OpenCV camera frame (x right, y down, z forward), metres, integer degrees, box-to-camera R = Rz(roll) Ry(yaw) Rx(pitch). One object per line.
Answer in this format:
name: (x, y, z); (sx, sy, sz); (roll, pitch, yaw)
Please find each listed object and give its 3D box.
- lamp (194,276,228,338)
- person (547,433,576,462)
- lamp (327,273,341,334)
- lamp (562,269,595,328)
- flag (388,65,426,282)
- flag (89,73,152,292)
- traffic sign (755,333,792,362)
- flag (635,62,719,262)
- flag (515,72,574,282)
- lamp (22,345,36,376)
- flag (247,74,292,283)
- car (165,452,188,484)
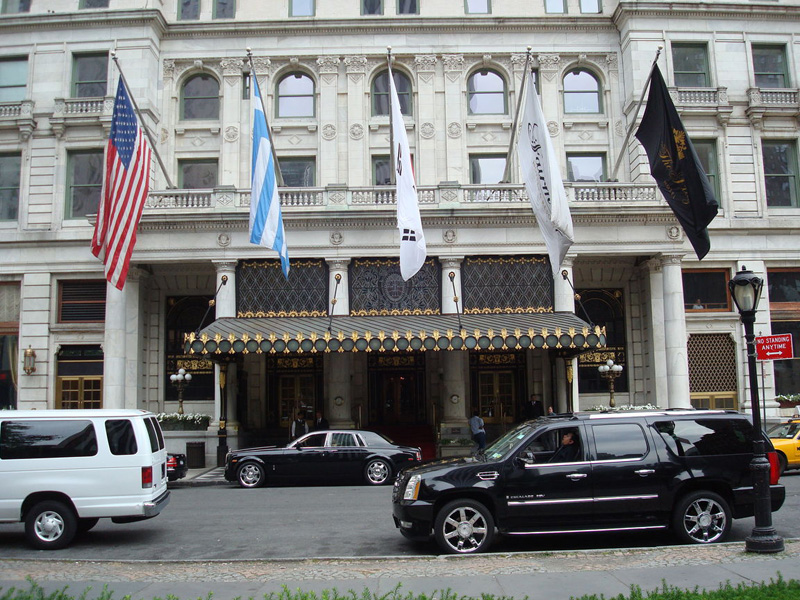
lamp: (-7.754, 0.236, 39.354); (0.401, 2.493, 0.348); (28, 16, 24)
person: (3.776, 3.495, 22.413); (0.453, 0.857, 0.865); (21, -6, 2)
lamp: (-2.619, -0.059, 37.542); (0.590, 2.286, 1.767); (-1, -9, -4)
lamp: (7.316, -0.097, 39.803); (0.787, 1.724, 4.602); (-5, -9, 16)
flag: (0.019, -4.663, 33.591); (1.229, 7.727, 0.939); (-7, 2, 11)
flag: (-10.388, -4.251, 35.536); (1.516, 7.475, 1.715); (-6, -10, 24)
traffic sign: (9.039, 1.138, 23.513); (0.038, 0.804, 1.058); (7, -11, -44)
flag: (8.834, -4.732, 31.128); (1.584, 6.724, 2.139); (-2, -9, 1)
flag: (4.756, -4.323, 32.524); (0.946, 7.166, 1.532); (6, -12, -42)
lamp: (-15.298, 2.399, 39.551); (0.542, 1.247, 0.635); (0, -9, -11)
flag: (-4.926, -4.631, 34.798); (0.766, 7.330, 1.357); (-9, -11, 37)
car: (-7.407, 5.491, 31.956); (0.746, 0.640, 1.714); (-2, -9, -7)
